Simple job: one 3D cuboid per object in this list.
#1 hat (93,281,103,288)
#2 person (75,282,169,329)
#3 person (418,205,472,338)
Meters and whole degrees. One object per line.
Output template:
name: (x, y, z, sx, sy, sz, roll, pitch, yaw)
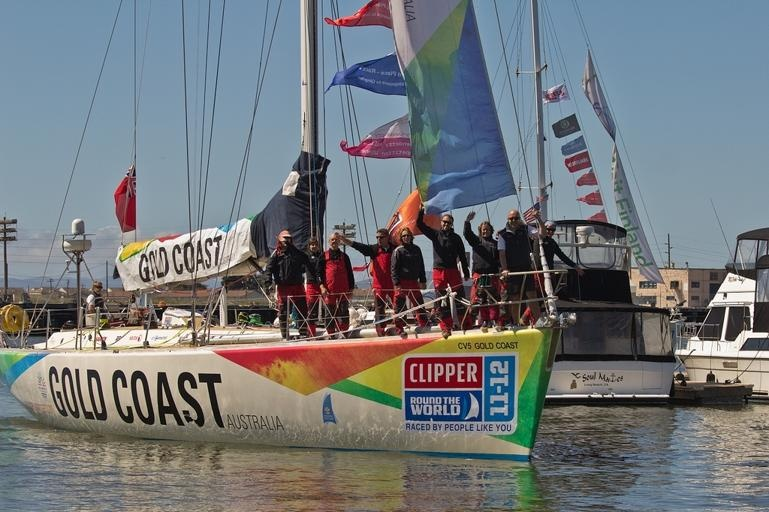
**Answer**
hat: (-6.619, 0.635, 33.884, 0.186, 0.141, 0.138, -15, -7, 41)
person: (-6.280, 1.094, 34.305, 2.065, 0.833, 1.085, -6, -5, 41)
person: (1.173, 0.216, 29.380, 1.036, 2.508, 1.538, 3, 11, 3)
